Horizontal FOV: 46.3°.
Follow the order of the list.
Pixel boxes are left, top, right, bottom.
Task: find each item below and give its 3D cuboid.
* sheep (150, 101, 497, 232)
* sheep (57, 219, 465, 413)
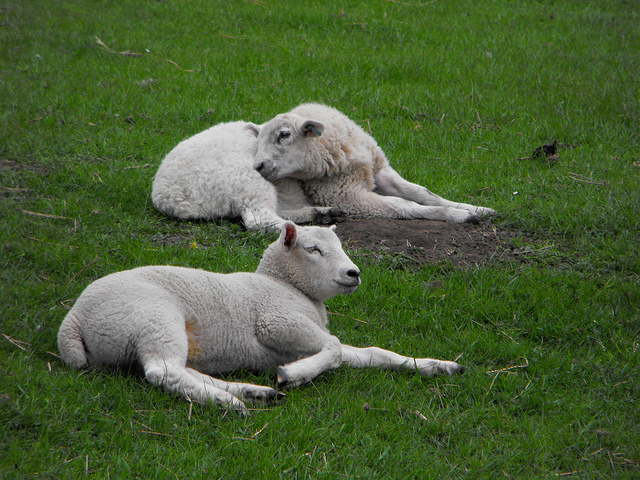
[{"bbox_3d":[-0.279,-0.821,9.704,3.467,1.448,1.979,0,14,-6],"label":"sheep"},{"bbox_3d":[-0.553,0.823,7.177,3.343,1.828,1.666,3,-8,-7],"label":"sheep"}]
